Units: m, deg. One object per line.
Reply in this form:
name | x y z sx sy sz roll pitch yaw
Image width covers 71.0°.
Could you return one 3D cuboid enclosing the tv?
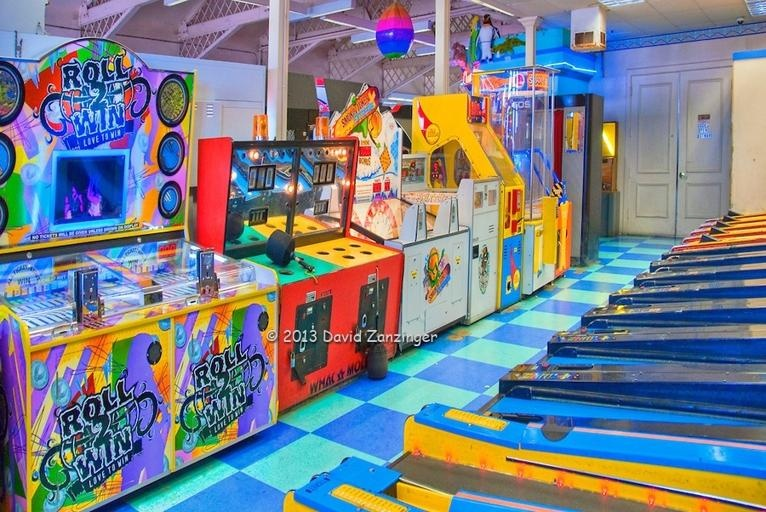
tv | -1.885 -0.411 3.404 0.048 0.509 0.490 6 8 35
